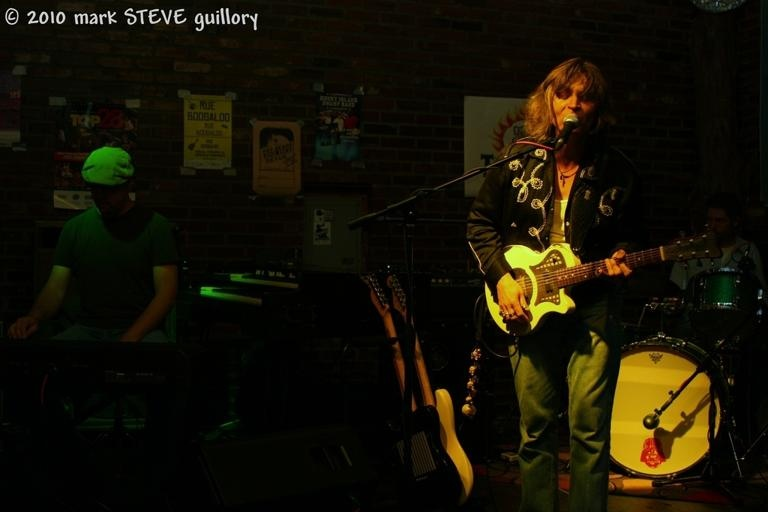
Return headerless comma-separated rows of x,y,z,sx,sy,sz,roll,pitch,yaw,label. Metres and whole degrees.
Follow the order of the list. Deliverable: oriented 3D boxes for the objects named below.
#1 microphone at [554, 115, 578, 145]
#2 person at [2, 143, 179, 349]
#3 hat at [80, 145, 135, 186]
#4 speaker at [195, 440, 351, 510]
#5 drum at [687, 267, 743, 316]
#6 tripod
0.843,-0.573,3.358,0.141,0.143,0.080,-1,7,-38,microphone
-1.726,-0.010,4.336,1.039,1.223,0.964,0,13,-14,person
-1.677,-0.544,4.418,0.277,0.169,0.262,4,22,-5,hat
-0.521,1.061,3.590,0.753,0.288,0.168,1,6,-18,speaker
2.134,0.234,4.519,0.364,0.232,0.355,1,-9,0,drum
1.925,0.950,4.459,0.589,0.983,0.352,6,6,23,tripod
